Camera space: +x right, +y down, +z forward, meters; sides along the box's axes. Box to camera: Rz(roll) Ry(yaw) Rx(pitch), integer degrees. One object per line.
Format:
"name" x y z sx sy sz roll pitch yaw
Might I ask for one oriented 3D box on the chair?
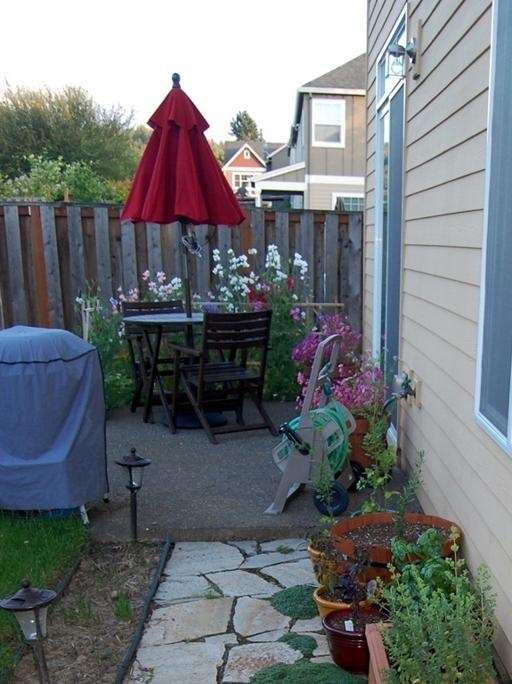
"chair" -0.477 0.201 4.894 0.978 1.035 1.276 -2 3 -27

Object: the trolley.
"trolley" 0.382 0.526 3.520 0.665 1.577 0.814 3 7 12

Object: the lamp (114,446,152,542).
"lamp" -0.629 0.732 2.925 0.156 0.469 0.501 -7 12 -13

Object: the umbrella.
"umbrella" -0.631 -1.198 4.889 1.020 2.019 1.072 -5 12 -5
